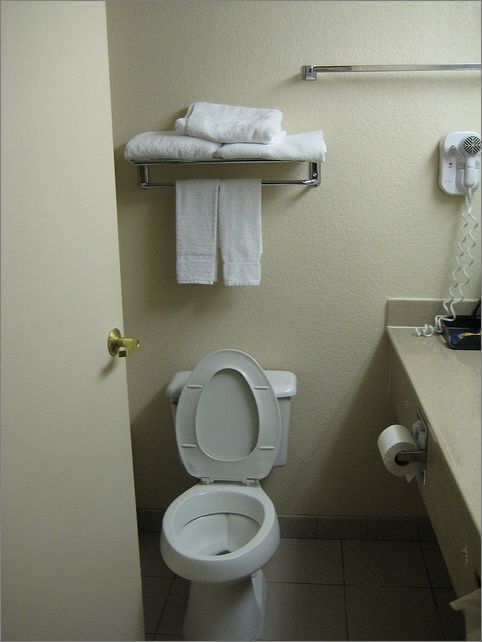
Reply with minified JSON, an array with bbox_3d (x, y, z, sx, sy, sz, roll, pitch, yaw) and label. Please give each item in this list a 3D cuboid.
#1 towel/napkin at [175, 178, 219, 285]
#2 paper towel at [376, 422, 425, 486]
[{"bbox_3d":[-0.129,-0.268,1.714,0.130,0.300,0.042,0,11,10],"label":"towel/napkin"},{"bbox_3d":[0.370,0.320,1.327,0.093,0.107,0.120,-14,-9,-5],"label":"paper towel"}]
